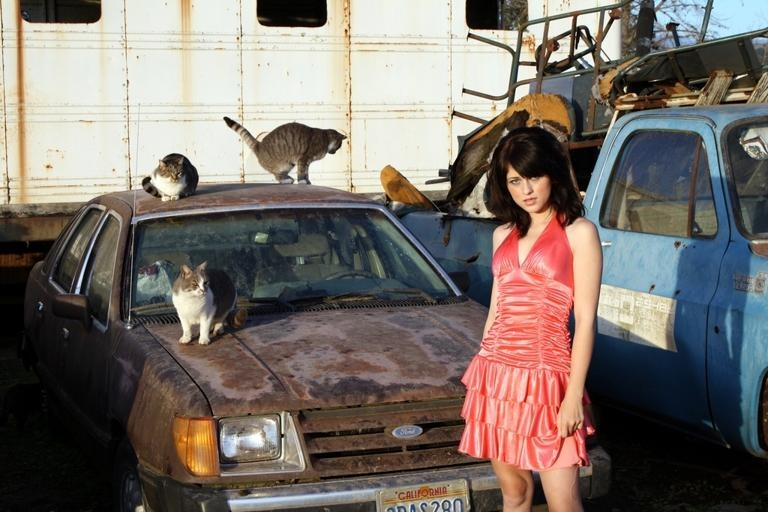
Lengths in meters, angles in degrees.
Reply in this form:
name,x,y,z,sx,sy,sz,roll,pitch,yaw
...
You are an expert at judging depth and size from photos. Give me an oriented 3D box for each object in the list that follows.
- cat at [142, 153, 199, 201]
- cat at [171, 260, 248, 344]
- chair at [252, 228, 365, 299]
name,x,y,z,sx,sy,sz,roll,pitch,yaw
cat,-1.674,-0.662,5.019,0.317,0.280,0.488,-1,17,-7
cat,-1.077,0.289,3.850,0.276,0.451,0.552,-3,1,11
chair,-0.609,0.087,4.689,0.432,0.223,0.596,1,-20,-18
